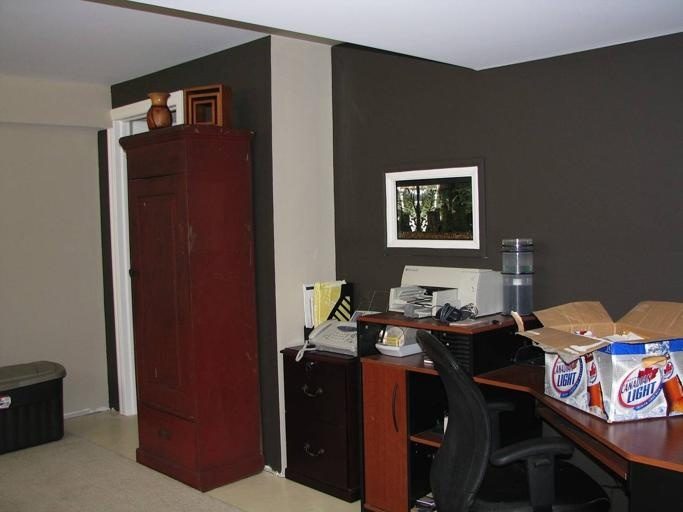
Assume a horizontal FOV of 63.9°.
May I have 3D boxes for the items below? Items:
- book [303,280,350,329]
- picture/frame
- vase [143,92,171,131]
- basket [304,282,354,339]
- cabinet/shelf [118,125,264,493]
[{"bbox_3d":[-0.131,0.372,4.162,0.347,0.338,0.115,-2,1,-35],"label":"book"},{"bbox_3d":[0.664,-0.347,3.845,0.595,0.467,0.045,0,2,38],"label":"picture/frame"},{"bbox_3d":[-1.373,-1.086,4.162,0.183,0.272,0.187,8,11,43],"label":"vase"},{"bbox_3d":[-0.082,0.375,4.258,0.335,0.341,0.123,3,-8,-34],"label":"basket"},{"bbox_3d":[-1.141,0.367,4.069,0.988,2.574,0.516,1,5,19],"label":"cabinet/shelf"}]
